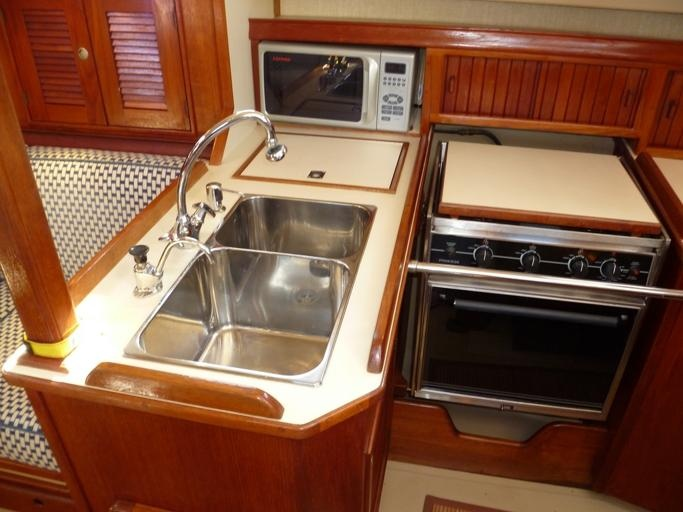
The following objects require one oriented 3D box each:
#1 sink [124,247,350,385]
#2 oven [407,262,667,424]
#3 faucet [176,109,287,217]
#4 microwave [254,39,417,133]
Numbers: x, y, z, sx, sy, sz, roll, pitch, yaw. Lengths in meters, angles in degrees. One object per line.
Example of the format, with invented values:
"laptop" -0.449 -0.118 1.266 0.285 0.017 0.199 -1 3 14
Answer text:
"sink" -0.255 0.219 1.527 0.538 0.337 0.515 8 28 6
"oven" 0.639 0.141 1.992 0.698 0.846 0.669 6 55 10
"faucet" -0.414 -0.325 1.861 0.383 0.521 0.118 -1 54 -10
"microwave" 0.004 -0.691 2.292 0.557 0.300 0.393 5 48 5
